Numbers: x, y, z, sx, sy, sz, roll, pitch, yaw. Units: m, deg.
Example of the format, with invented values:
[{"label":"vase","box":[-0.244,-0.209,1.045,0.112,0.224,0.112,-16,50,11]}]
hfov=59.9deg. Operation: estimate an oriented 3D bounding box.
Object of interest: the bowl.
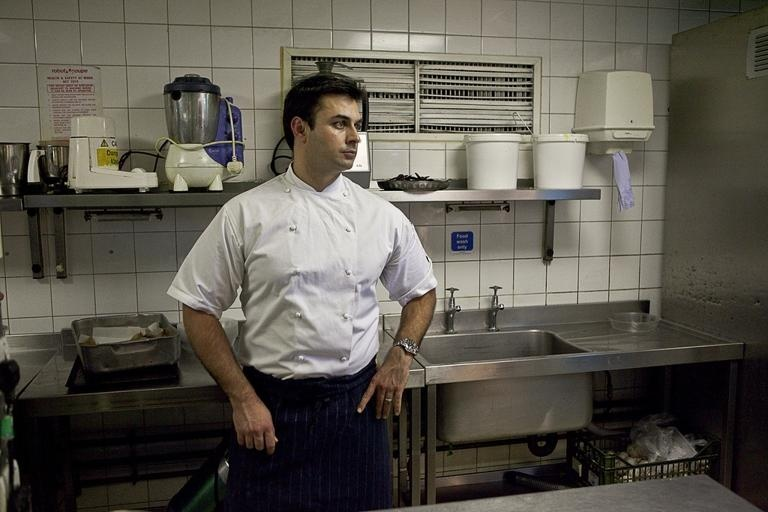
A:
[{"label":"bowl","box":[-1.224,0.431,3.191,0.361,0.125,0.356,2,14,0]}]

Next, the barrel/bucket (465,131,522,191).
[{"label":"barrel/bucket","box":[0.606,-0.526,3.770,0.310,0.262,0.307,0,1,0]}]

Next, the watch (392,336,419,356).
[{"label":"watch","box":[0.102,0.391,2.898,0.074,0.048,0.087,25,-19,-14]}]

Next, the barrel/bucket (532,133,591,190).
[{"label":"barrel/bucket","box":[0.995,-0.531,3.809,0.310,0.264,0.309,-2,7,0]}]

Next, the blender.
[{"label":"blender","box":[-0.908,-0.609,3.380,0.396,0.543,0.465,16,16,28]}]

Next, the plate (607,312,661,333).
[{"label":"plate","box":[1.496,0.390,3.995,0.283,0.080,0.238,-2,9,5]}]

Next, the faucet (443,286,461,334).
[{"label":"faucet","box":[0.401,0.307,3.899,0.088,0.270,0.139,-2,9,10]}]

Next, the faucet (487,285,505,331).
[{"label":"faucet","box":[0.657,0.301,3.945,0.090,0.260,0.124,-1,9,15]}]
